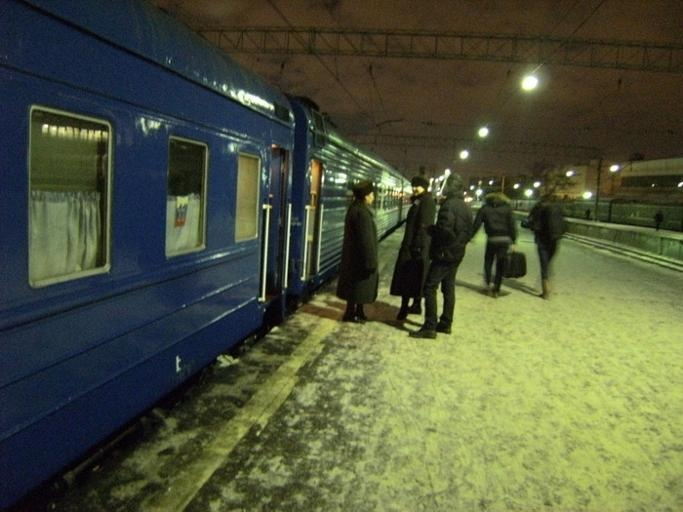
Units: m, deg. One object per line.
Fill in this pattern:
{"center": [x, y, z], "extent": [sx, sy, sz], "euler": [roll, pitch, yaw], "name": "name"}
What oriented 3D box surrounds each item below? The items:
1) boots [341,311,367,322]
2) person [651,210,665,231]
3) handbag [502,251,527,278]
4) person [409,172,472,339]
{"center": [0.186, 0.841, 8.072], "extent": [0.398, 0.193, 0.128], "euler": [-4, 6, -11], "name": "boots"}
{"center": [16.045, -1.792, 29.079], "extent": [0.400, 0.995, 2.015], "euler": [9, 16, 28], "name": "person"}
{"center": [2.889, 0.143, 9.540], "extent": [0.391, 0.496, 0.340], "euler": [-2, 7, 1], "name": "handbag"}
{"center": [1.325, 0.030, 7.434], "extent": [0.545, 2.133, 0.781], "euler": [7, 14, 23], "name": "person"}
